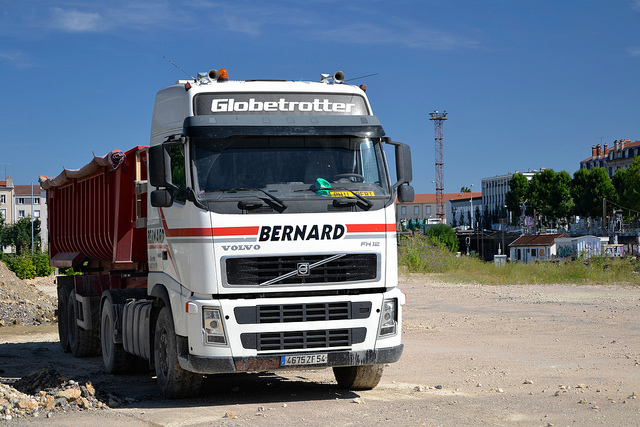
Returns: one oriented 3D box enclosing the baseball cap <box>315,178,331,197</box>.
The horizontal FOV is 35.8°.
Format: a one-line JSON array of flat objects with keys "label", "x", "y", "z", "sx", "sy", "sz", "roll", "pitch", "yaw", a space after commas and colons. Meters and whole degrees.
[{"label": "baseball cap", "x": 0.041, "y": -0.510, "z": 19.763, "sx": 0.273, "sy": 0.293, "sz": 0.354, "roll": -1, "pitch": 11, "yaw": -17}]
